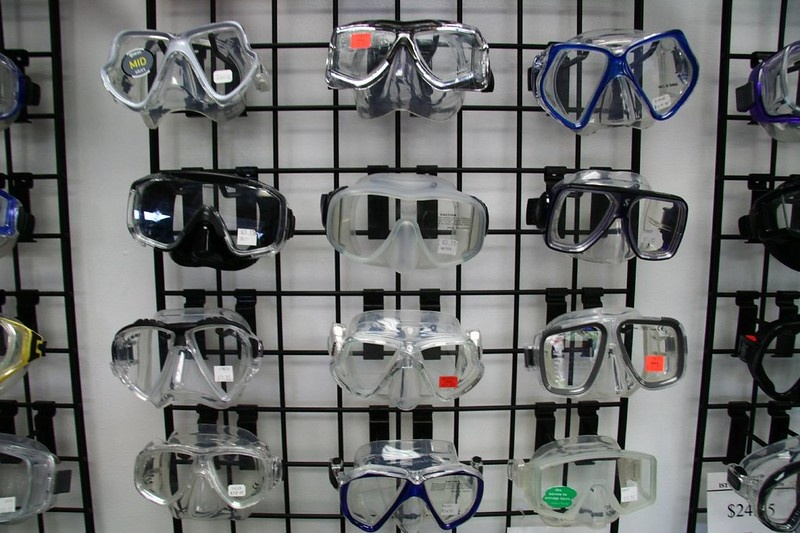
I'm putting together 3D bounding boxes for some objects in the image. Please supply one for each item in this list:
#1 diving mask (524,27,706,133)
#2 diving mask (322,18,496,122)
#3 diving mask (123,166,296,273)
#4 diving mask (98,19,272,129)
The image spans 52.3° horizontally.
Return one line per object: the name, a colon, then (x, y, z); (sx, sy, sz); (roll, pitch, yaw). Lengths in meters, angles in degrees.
diving mask: (0.807, -0.713, 3.095); (0.631, 0.227, 0.364); (-5, -73, 2)
diving mask: (0.036, -0.740, 3.064); (0.612, 0.218, 0.365); (0, -73, 0)
diving mask: (-0.709, -0.175, 3.042); (0.605, 0.094, 0.351); (3, -73, -1)
diving mask: (-0.796, -0.714, 3.042); (0.599, 0.150, 0.361); (-5, -73, 2)
